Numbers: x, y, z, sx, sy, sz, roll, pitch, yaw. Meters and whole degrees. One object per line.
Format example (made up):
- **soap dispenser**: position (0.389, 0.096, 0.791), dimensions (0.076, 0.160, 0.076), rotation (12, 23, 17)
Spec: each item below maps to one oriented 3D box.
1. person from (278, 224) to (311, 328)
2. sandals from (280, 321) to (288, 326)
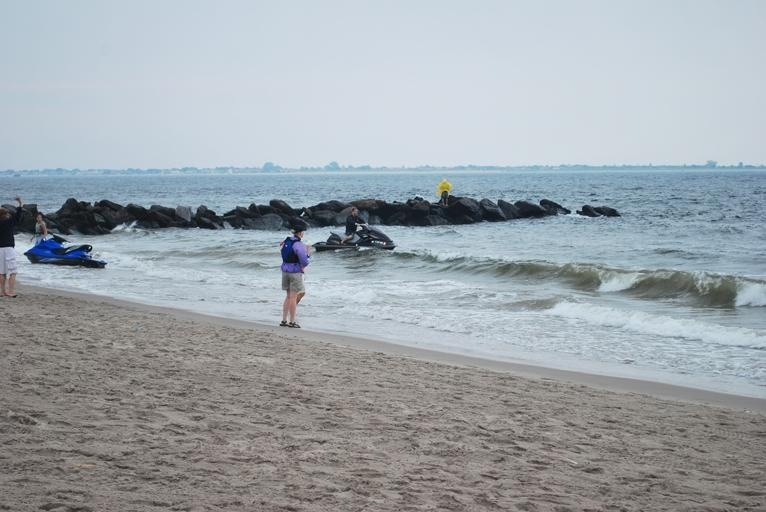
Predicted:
- **person**: position (-1.971, 0.432, 18.080), dimensions (0.557, 2.304, 1.039), rotation (2, 13, -5)
- **sandals**: position (-2.184, 1.491, 17.970), dimensions (0.095, 0.066, 0.212), rotation (5, 7, 26)
